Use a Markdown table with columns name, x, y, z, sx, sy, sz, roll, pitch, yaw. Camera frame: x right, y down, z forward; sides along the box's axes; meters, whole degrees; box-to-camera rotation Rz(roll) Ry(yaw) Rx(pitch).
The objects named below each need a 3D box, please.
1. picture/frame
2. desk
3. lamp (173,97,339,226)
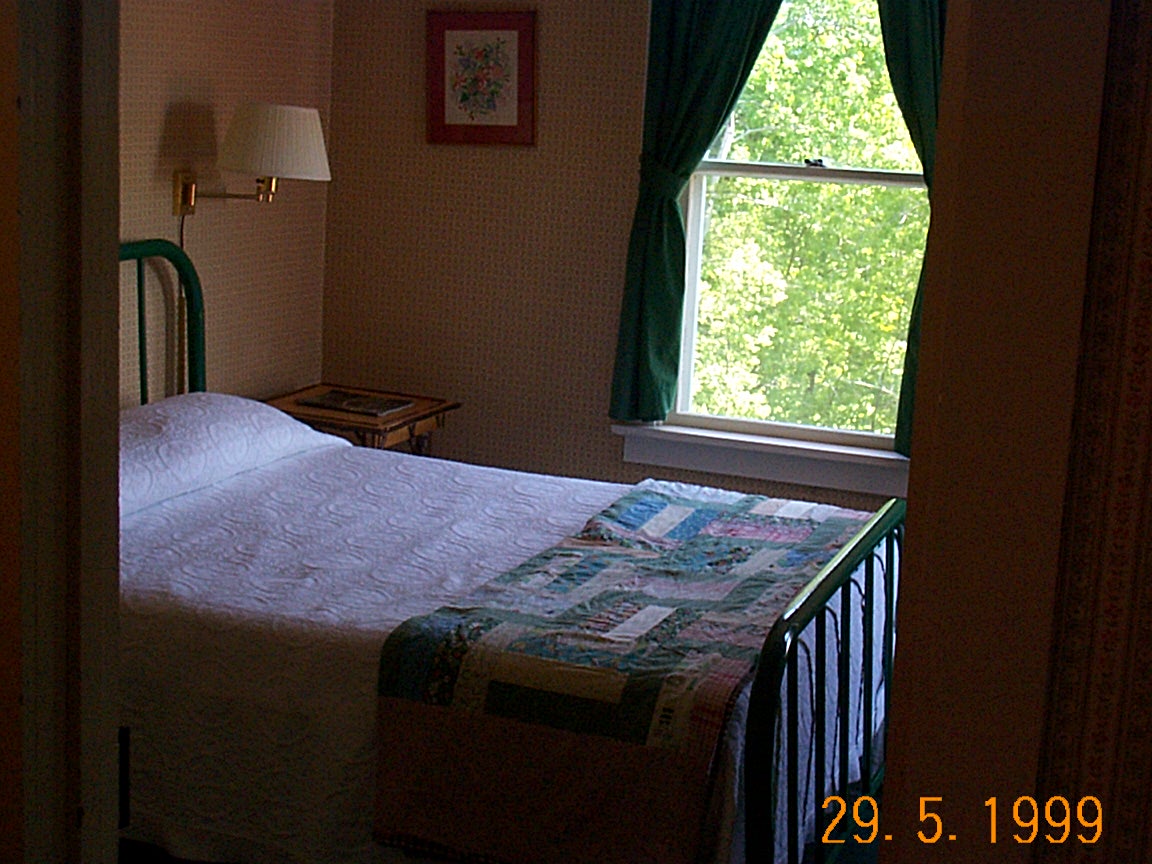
| name | x | y | z | sx | sy | sz | roll | pitch | yaw |
| --- | --- | --- | --- | --- | --- | --- | --- | --- | --- |
| picture/frame | -0.358 | -1.468 | 4.124 | 0.561 | 0.613 | 0.025 | 3 | 12 | 11 |
| desk | -0.842 | -0.090 | 4.063 | 0.427 | 0.420 | 0.395 | 8 | 12 | 22 |
| lamp | -1.107 | -0.971 | 3.676 | 0.501 | 0.412 | 0.391 | 10 | 16 | 11 |
